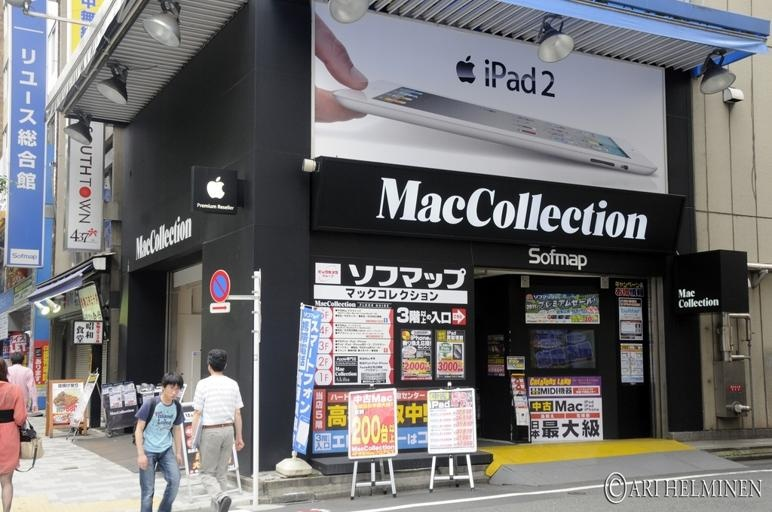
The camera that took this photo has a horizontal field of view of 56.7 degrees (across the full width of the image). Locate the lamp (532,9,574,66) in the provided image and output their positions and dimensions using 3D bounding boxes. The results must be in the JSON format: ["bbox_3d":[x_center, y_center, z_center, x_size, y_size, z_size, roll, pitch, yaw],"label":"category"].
[{"bbox_3d":[2.939,-3.924,12.518,0.734,1.105,0.823,-2,-9,11],"label":"lamp"}]

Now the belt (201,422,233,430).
[{"bbox_3d":[-2.367,2.384,9.983,0.379,0.069,0.088,4,-11,-22],"label":"belt"}]
